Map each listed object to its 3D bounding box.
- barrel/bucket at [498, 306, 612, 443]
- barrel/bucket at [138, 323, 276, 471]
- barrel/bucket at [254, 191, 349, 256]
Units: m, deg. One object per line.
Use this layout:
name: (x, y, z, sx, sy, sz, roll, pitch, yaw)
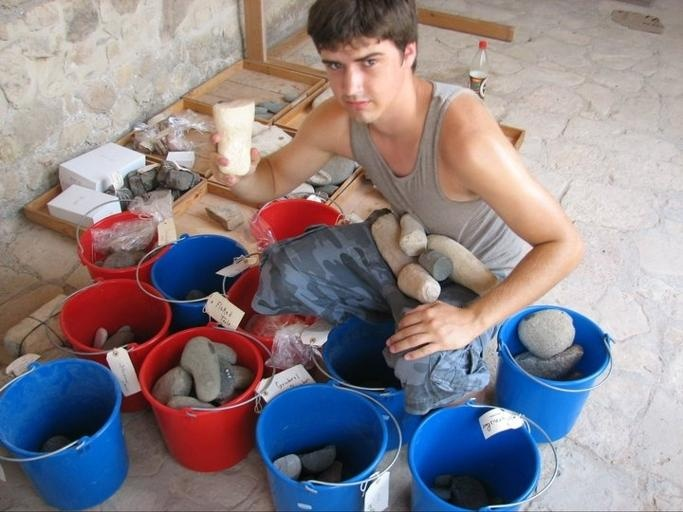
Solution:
barrel/bucket: (0.776, 0.438, 1.999, 0.416, 0.332, 0.386, -1, 42, 1)
barrel/bucket: (-0.449, 0.569, 2.100, 0.567, 0.414, 0.500, -11, 43, -17)
barrel/bucket: (-0.290, -0.139, 2.793, 0.551, 0.312, 0.490, -3, 7, -26)
